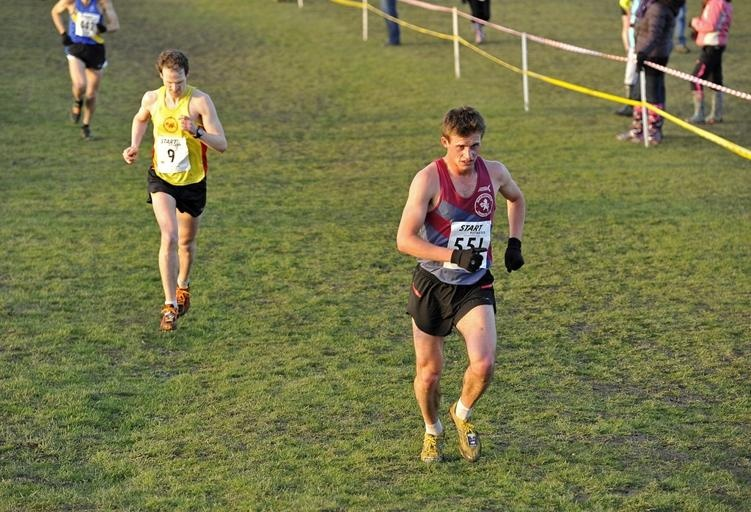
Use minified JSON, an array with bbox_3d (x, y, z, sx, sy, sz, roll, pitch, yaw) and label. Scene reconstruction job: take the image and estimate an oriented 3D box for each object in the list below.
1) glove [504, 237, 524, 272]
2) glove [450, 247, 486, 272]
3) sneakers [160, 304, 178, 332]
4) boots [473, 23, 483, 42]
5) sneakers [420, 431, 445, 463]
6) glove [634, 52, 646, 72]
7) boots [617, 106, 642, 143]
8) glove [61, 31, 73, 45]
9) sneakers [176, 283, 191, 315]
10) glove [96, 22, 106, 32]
[{"bbox_3d":[1.775,-0.029,18.972,0.169,0.267,0.422,8,63,39],"label":"glove"},{"bbox_3d":[1.139,0.037,18.580,0.411,0.254,0.282,2,21,1],"label":"glove"},{"bbox_3d":[-2.876,0.835,20.842,0.232,0.342,0.289,0,21,-4],"label":"sneakers"},{"bbox_3d":[2.077,-4.487,30.131,0.161,0.310,0.322,-10,44,-6],"label":"boots"},{"bbox_3d":[0.702,2.442,18.995,0.209,0.205,0.444,1,64,5],"label":"sneakers"},{"bbox_3d":[4.417,-3.239,24.925,0.108,0.224,0.178,6,9,-14],"label":"glove"},{"bbox_3d":[4.591,-2.253,26.131,0.648,0.672,0.388,3,17,12],"label":"boots"},{"bbox_3d":[-5.239,-3.673,25.402,0.163,0.240,0.240,-5,22,-16],"label":"glove"},{"bbox_3d":[-2.717,0.630,21.167,0.165,0.377,0.169,-5,-4,-8],"label":"sneakers"},{"bbox_3d":[-4.650,-3.849,25.447,0.132,0.174,0.206,1,21,-2],"label":"glove"}]
